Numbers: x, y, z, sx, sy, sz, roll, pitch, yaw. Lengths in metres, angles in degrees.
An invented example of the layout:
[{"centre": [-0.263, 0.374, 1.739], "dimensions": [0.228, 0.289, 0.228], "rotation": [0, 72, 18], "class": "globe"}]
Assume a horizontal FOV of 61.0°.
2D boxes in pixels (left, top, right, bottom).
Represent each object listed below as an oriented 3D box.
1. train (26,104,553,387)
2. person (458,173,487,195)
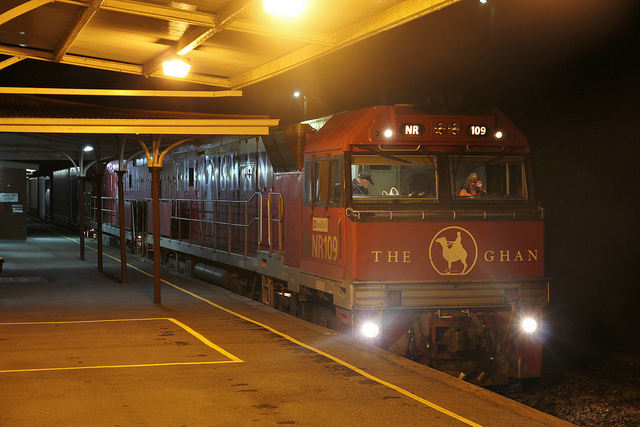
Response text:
[{"centre": [-0.721, 0.562, 22.067], "dimensions": [4.181, 5.918, 25.461], "rotation": [0, 0, -16], "class": "train"}, {"centre": [3.053, -0.494, 10.939], "dimensions": [0.723, 0.500, 0.357], "rotation": [1, -6, -22], "class": "person"}]
